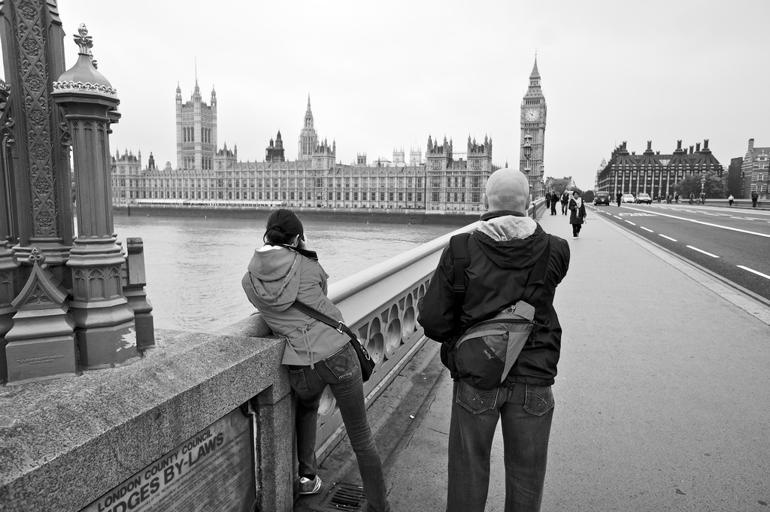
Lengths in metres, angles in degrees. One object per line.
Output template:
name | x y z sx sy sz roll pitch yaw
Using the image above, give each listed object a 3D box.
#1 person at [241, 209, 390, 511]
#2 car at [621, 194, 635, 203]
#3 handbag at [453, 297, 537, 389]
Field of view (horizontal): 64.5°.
person | -0.472 0.674 4.163 1.036 1.956 0.389 3 10 20
car | 29.867 -6.976 74.866 1.453 1.334 3.648 -1 8 14
handbag | 0.642 0.523 3.732 0.344 0.569 0.222 43 0 2
